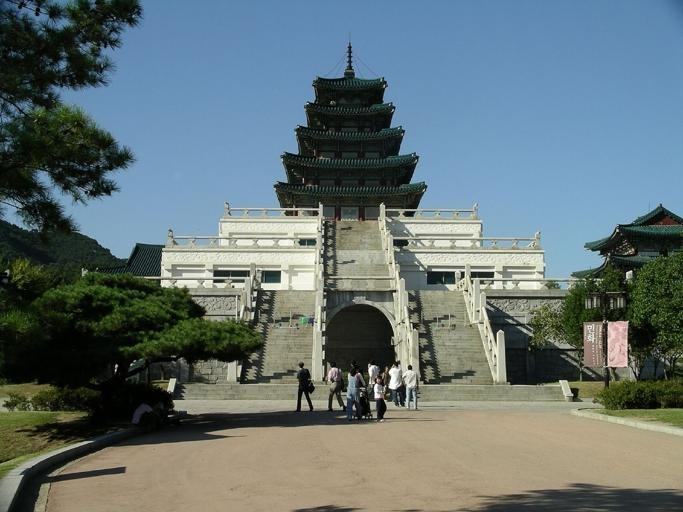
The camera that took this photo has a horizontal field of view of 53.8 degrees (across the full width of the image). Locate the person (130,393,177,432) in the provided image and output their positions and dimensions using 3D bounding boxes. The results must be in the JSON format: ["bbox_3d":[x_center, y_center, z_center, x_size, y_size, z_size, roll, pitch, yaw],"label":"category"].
[{"bbox_3d":[-5.011,4.241,18.289,0.549,0.694,1.809,-4,3,-1],"label":"person"}]
